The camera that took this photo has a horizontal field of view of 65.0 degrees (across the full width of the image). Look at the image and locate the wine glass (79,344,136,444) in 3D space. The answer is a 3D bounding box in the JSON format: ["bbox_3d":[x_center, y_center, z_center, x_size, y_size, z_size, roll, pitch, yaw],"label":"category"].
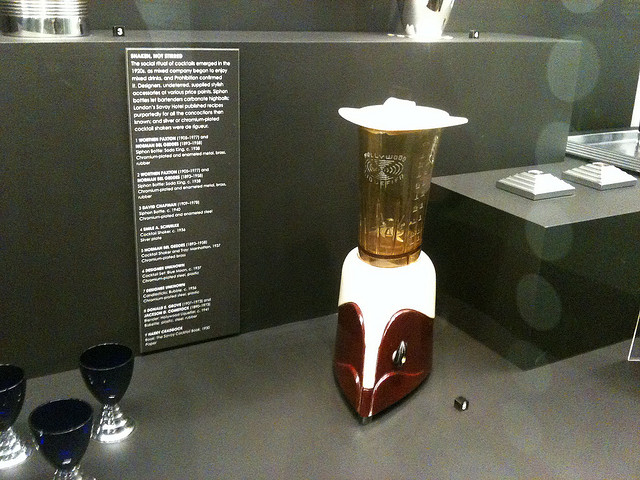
[{"bbox_3d":[-0.575,0.421,1.389,0.124,0.226,0.135,2,11,5],"label":"wine glass"}]

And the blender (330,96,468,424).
[{"bbox_3d":[0.191,0.042,1.546,0.438,0.872,0.326,-20,31,-34],"label":"blender"}]
